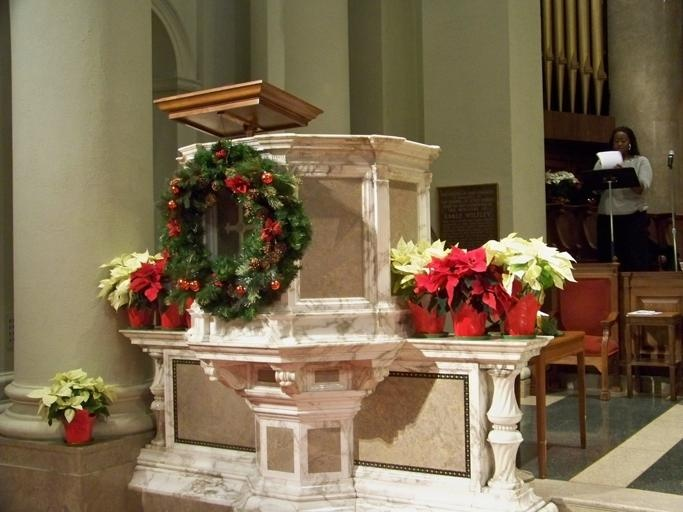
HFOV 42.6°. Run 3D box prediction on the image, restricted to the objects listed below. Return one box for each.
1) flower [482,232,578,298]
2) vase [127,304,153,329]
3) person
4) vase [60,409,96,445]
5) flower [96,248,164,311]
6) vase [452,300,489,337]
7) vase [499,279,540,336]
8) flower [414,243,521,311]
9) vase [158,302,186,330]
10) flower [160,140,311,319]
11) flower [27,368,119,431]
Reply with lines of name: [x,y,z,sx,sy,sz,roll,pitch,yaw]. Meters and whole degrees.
flower: [1.181,0.119,5.422,0.351,0.275,0.391,7,15,2]
vase: [-1.432,0.433,6.239,0.155,0.128,0.156,-2,-3,19]
person: [3.186,-0.649,9.898,0.587,1.614,0.561,1,3,20]
vase: [-1.820,1.173,6.042,0.214,0.194,0.223,0,-7,-2]
flower: [-1.507,0.113,6.295,0.458,0.259,0.426,-18,26,-39]
vase: [0.786,0.384,5.391,0.196,0.174,0.192,1,-2,-34]
vase: [1.122,0.331,5.447,0.269,0.311,0.284,-9,-15,41]
flower: [0.738,0.196,5.445,0.501,0.367,0.536,4,17,44]
vase: [-1.191,0.400,6.163,0.223,0.200,0.211,0,-2,-13]
flower: [-0.664,-0.156,5.350,0.893,1.123,0.362,0,2,22]
flower: [-1.838,0.960,6.013,0.423,0.308,0.437,10,6,3]
